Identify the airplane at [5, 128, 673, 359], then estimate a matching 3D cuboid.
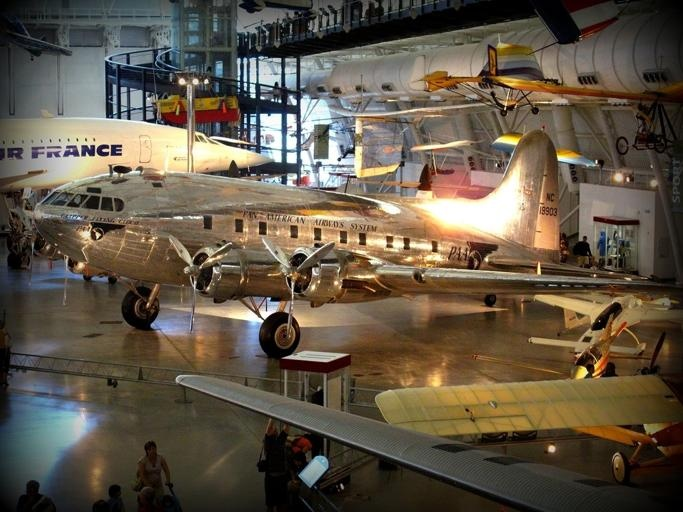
[{"bbox_3d":[-0.571,-0.772,28.632,24.707,6.711,26.159,-3,8,-37],"label":"airplane"}]
